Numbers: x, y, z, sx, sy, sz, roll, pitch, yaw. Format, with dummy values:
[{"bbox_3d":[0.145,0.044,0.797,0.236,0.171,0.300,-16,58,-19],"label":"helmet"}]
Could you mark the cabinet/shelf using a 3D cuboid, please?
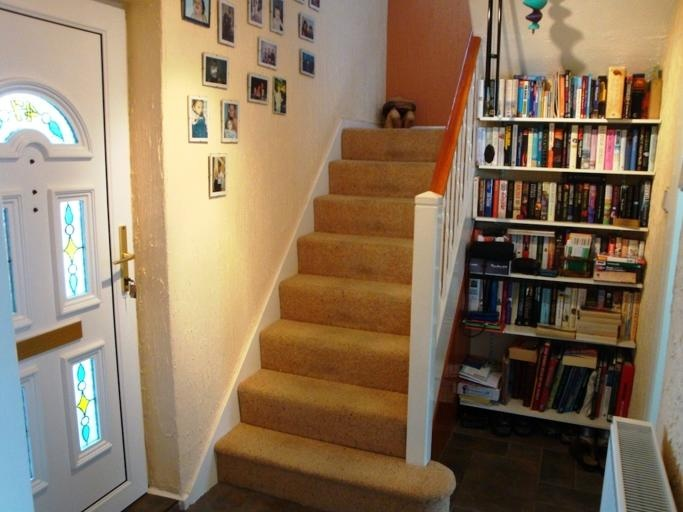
[{"bbox_3d":[1.484,0.106,3.876,1.194,2.149,0.690,7,11,22],"label":"cabinet/shelf"}]
